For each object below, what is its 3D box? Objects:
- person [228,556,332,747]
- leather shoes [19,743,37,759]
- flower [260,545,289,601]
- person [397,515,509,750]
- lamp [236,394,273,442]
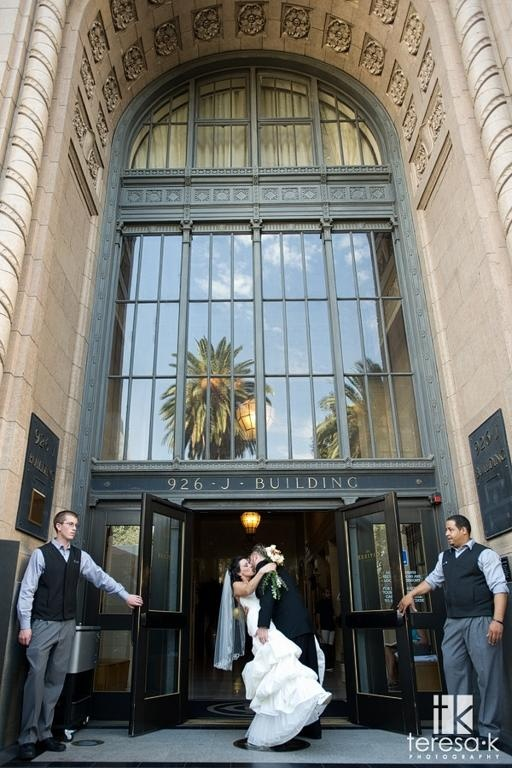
[{"bbox_3d":[0.142,1.802,2.806,0.580,1.288,0.816,-1,-18,-4],"label":"person"},{"bbox_3d":[-1.242,2.013,2.293,0.057,0.073,0.162,7,-35,-14],"label":"leather shoes"},{"bbox_3d":[0.129,1.399,3.059,0.147,0.348,0.173,4,9,10],"label":"flower"},{"bbox_3d":[1.371,1.678,2.865,0.631,1.456,0.807,-8,-19,17],"label":"person"},{"bbox_3d":[-0.092,0.489,5.415,0.409,0.680,0.474,4,-29,-5],"label":"lamp"}]
